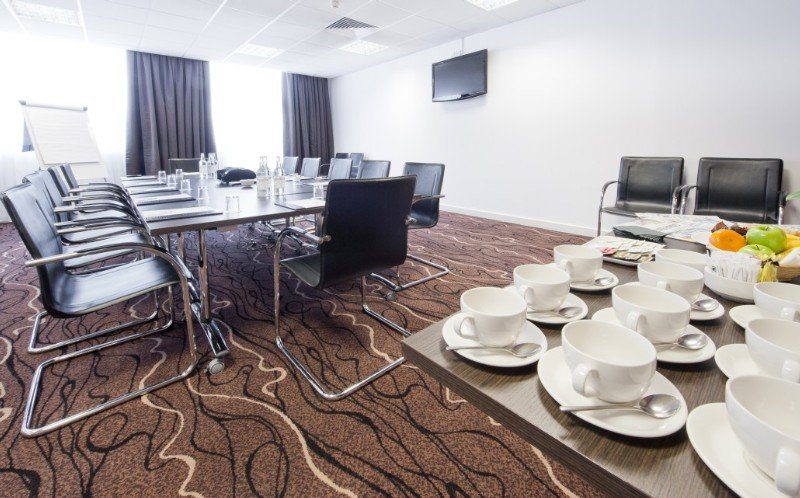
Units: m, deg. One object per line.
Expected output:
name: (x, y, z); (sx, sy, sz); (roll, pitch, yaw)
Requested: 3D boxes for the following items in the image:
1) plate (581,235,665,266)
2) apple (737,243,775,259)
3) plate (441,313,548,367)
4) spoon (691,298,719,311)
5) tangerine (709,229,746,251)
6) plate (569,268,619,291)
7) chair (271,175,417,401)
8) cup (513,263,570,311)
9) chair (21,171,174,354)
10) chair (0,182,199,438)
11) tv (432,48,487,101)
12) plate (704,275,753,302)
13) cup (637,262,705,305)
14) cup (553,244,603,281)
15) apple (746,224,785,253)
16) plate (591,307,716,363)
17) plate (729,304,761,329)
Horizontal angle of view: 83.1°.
plate: (0.876, -0.001, 1.764); (0.197, 0.028, 0.195); (10, 21, 43)
apple: (1.254, 0.006, 1.580); (0.079, 0.062, 0.076); (4, 20, 32)
plate: (0.276, 0.307, 1.402); (0.221, 0.032, 0.215); (21, 33, 33)
spoon: (1.000, 0.181, 1.480); (0.070, 0.011, 0.042); (-3, 18, 9)
tangerine: (1.193, -0.034, 1.653); (0.098, 0.046, 0.096); (-23, 24, -7)
plate: (0.685, 0.116, 1.579); (0.107, 0.016, 0.112); (-24, 24, -38)
chair: (-0.282, 0.147, 2.317); (0.739, 1.024, 0.666); (-1, 19, -13)
cup: (0.493, 0.111, 1.532); (0.192, 0.097, 0.153); (-20, 28, -38)
chair: (-1.677, 0.107, 2.490); (0.639, 0.606, 1.039); (-9, 23, -29)
chair: (-1.526, 0.072, 2.814); (1.263, 1.473, 1.140); (-7, 21, -31)
tv: (0.631, -1.908, 4.969); (0.079, 0.504, 0.751); (-13, 24, -40)
plate: (1.118, 0.132, 1.529); (0.093, 0.033, 0.091); (-7, 12, -39)
cup: (0.891, 0.098, 1.496); (0.171, 0.088, 0.161); (-1, 6, 0)
cup: (0.641, 0.031, 1.607); (0.172, 0.077, 0.133); (-15, 22, -35)
apple: (1.325, -0.042, 1.627); (0.119, 0.104, 0.117); (0, 13, 42)
plate: (0.813, 0.238, 1.396); (0.214, 0.030, 0.208); (16, 18, 32)
plate: (1.110, 0.209, 1.461); (0.096, 0.019, 0.087); (-14, 28, -6)
